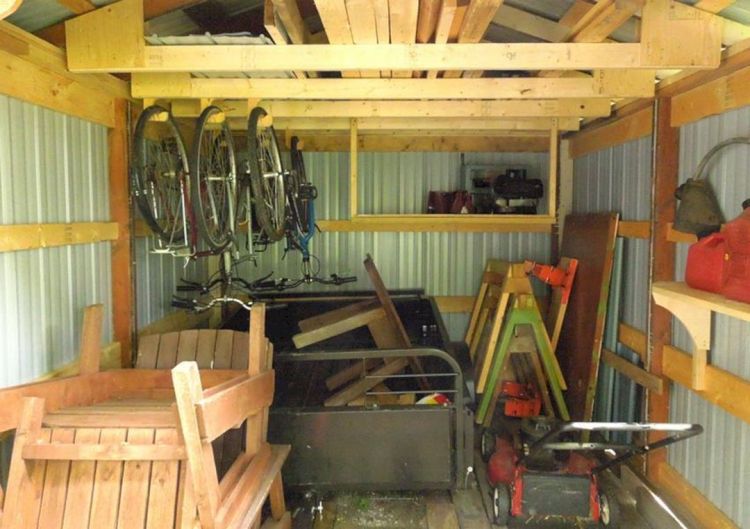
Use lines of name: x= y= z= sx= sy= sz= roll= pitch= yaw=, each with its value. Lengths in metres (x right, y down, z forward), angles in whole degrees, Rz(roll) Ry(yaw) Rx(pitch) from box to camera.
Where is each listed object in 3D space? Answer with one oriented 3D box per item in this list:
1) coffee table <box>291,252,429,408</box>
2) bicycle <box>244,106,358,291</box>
coffee table: x=-0.128 y=0.598 z=5.578 sx=1.117 sy=1.255 sz=1.050 roll=0 pitch=4 yaw=-7
bicycle: x=-0.853 y=-0.671 z=5.710 sx=1.078 sy=1.017 sz=1.813 roll=-5 pitch=-4 yaw=5
